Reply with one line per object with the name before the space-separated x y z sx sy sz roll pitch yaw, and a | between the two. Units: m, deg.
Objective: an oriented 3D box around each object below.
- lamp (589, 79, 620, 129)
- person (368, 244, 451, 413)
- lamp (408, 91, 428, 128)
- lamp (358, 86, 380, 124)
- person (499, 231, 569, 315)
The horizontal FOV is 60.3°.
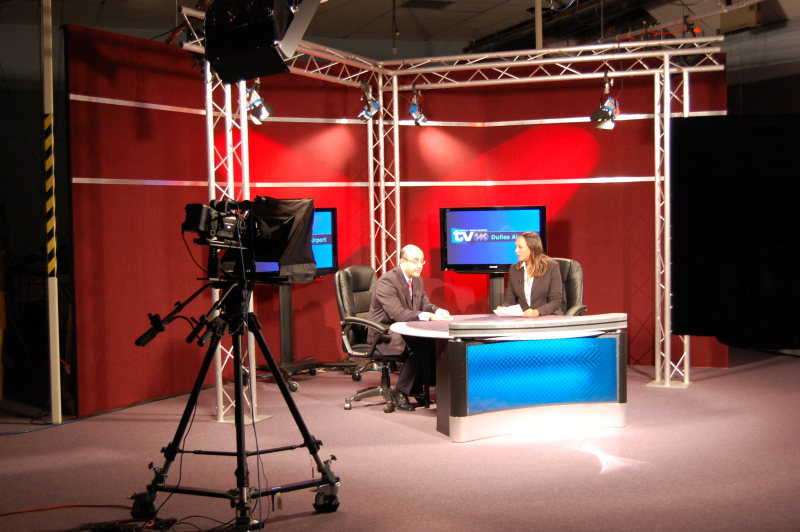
lamp | 2.204 -1.762 7.484 0.399 0.573 0.235 -32 40 -32
person | 0.077 0.590 6.797 0.761 1.503 0.838 -1 9 -3
lamp | 0.174 -1.765 7.927 0.145 0.424 0.166 -16 -8 35
lamp | -0.353 -1.893 8.004 0.250 0.403 0.531 -2 9 -4
person | 1.311 0.133 6.922 0.565 0.866 0.583 -1 2 34
